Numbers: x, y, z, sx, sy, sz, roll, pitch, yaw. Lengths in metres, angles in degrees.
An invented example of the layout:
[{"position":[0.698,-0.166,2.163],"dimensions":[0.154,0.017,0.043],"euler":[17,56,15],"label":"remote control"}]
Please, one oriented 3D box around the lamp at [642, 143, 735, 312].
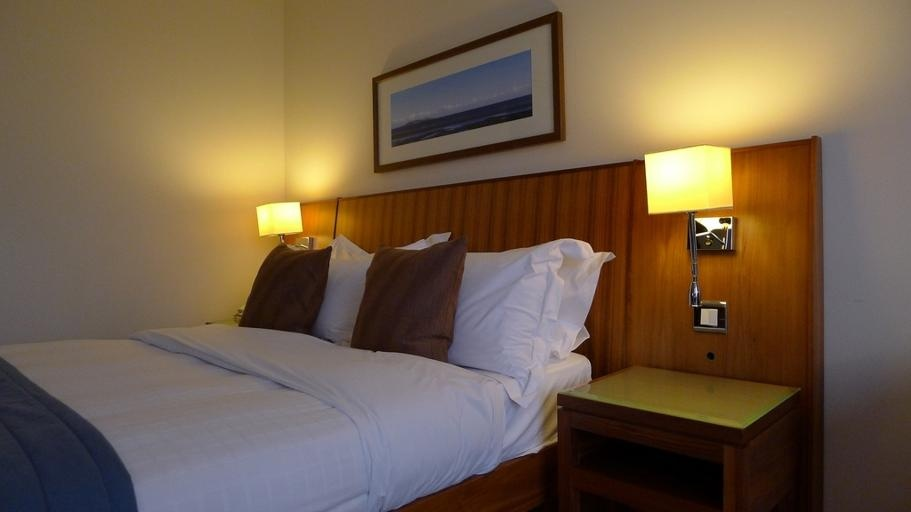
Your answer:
[{"position":[1.274,-0.146,3.151],"dimensions":[0.449,0.830,0.266],"euler":[-3,-1,21],"label":"lamp"}]
